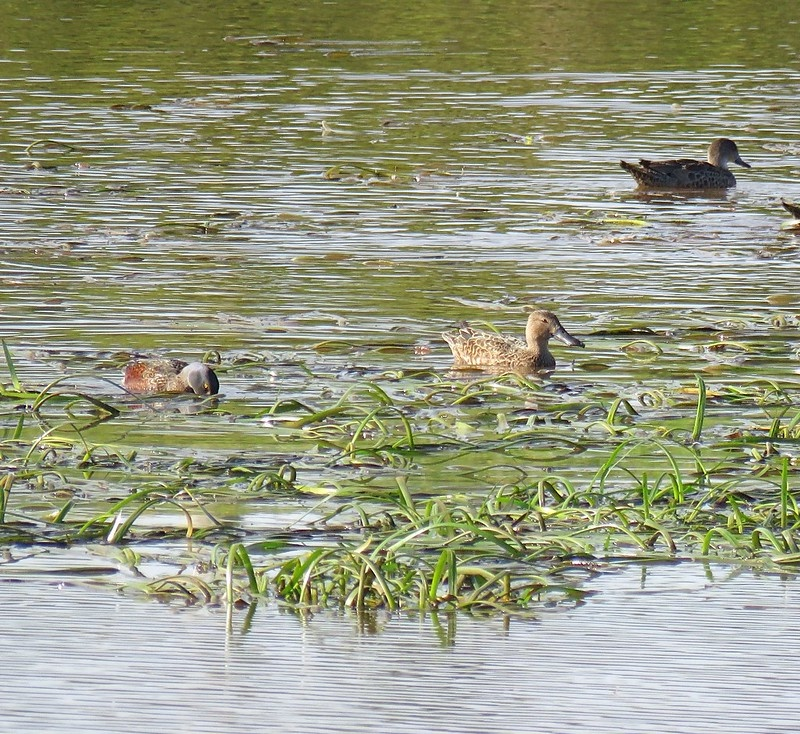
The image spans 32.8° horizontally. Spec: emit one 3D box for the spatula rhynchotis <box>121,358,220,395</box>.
[{"bbox_3d":[-1.791,0.079,10.392,0.654,0.187,0.339,9,16,39],"label":"spatula rhynchotis"}]

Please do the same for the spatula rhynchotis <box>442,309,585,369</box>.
[{"bbox_3d":[0.977,-0.229,11.684,1.118,0.465,0.593,-4,33,-8],"label":"spatula rhynchotis"}]
